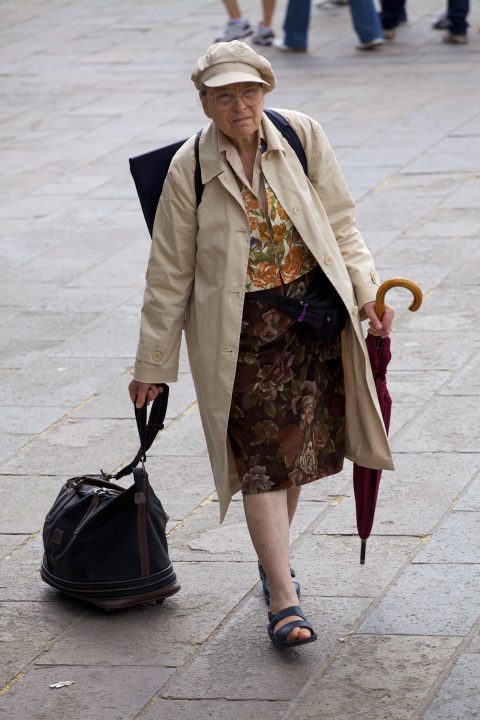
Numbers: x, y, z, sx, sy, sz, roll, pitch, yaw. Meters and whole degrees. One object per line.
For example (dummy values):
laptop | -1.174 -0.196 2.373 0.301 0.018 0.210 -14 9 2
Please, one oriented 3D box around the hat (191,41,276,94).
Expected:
hat | -0.018 -0.866 2.946 0.205 0.092 0.208 -2 -4 -3

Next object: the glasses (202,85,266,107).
glasses | -0.015 -0.769 2.897 0.175 0.058 0.120 -4 19 0

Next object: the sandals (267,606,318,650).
sandals | 0.155 0.787 2.909 0.088 0.063 0.186 -10 -2 -12

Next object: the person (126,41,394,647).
person | 0.160 -0.073 3.030 0.824 1.750 0.774 -19 26 -25

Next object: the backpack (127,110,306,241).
backpack | -0.067 -0.584 3.123 0.670 0.279 0.552 -12 1 15

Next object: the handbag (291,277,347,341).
handbag | 0.258 -0.156 3.008 0.100 0.198 0.147 -3 49 20
